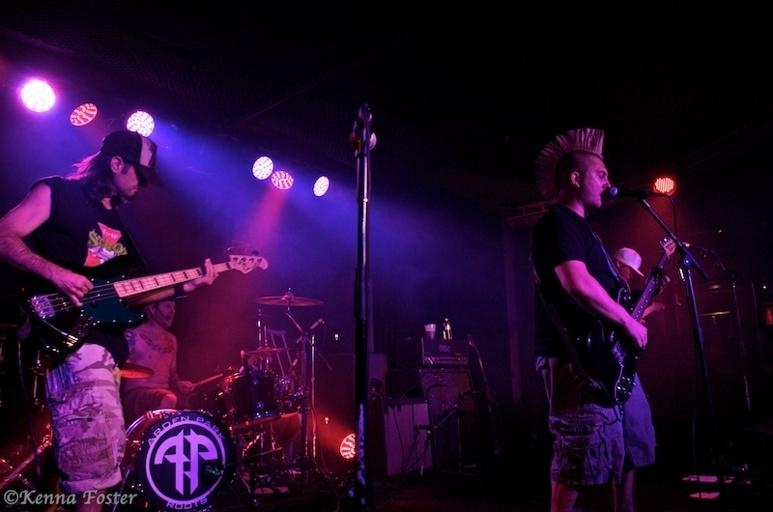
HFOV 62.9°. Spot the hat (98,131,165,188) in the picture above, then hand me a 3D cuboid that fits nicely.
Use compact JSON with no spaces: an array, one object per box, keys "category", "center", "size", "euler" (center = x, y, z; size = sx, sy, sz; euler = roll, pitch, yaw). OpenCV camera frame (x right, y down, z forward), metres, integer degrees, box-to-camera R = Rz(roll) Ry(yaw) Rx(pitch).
[{"category":"hat","center":[-2.455,-1.015,6.083],"size":[0.625,0.352,0.431],"euler":[33,-5,-34]}]

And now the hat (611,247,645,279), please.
[{"category":"hat","center":[3.091,0.087,8.075],"size":[0.436,0.250,0.332],"euler":[32,6,15]}]

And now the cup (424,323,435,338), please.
[{"category":"cup","center":[0.753,1.212,10.341],"size":[0.234,0.243,0.230],"euler":[0,-8,0]}]

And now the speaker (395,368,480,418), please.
[{"category":"speaker","center":[0.749,2.170,9.637],"size":[1.026,0.711,0.737],"euler":[8,-32,-27]}]

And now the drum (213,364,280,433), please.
[{"category":"drum","center":[-1.790,1.808,8.418],"size":[0.879,0.826,0.789],"euler":[-1,-7,-30]}]
